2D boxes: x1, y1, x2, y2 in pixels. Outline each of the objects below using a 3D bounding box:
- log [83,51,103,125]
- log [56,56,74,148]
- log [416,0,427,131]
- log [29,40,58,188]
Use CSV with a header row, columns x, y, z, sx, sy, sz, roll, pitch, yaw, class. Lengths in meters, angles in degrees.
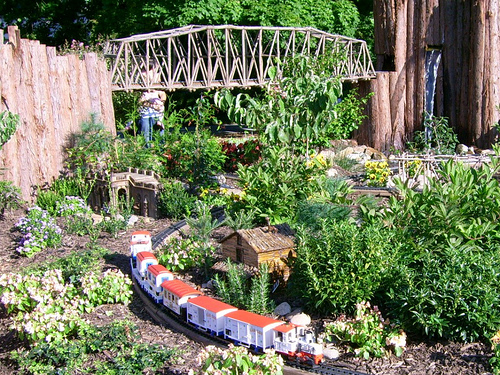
x,y,z,sx,sy,sz,roll,pitch,yaw,class
-2.857,-1.904,11.005,0.284,1.028,0.104,-5,11,-27,log
-3.285,-1.514,10.741,0.232,1.601,0.208,-3,10,-19,log
4.655,-3.291,16.381,0.233,3.480,0.123,1,10,7,log
-3.678,-1.284,10.566,0.252,2.620,0.256,20,26,31,log
